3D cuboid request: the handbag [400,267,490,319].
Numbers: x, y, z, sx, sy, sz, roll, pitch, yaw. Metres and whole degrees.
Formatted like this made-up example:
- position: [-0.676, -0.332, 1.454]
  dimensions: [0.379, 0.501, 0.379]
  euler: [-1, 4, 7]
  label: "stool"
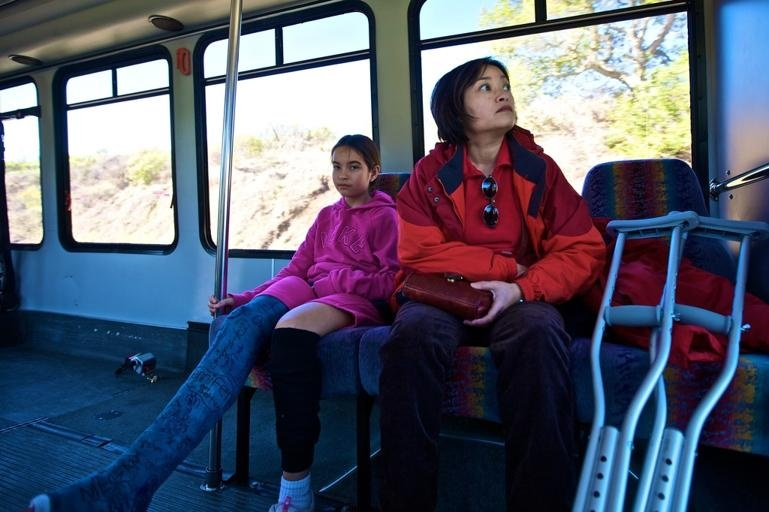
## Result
- position: [0.269, 0.120, 2.361]
  dimensions: [0.309, 0.124, 0.201]
  euler: [18, 16, 21]
  label: "handbag"
